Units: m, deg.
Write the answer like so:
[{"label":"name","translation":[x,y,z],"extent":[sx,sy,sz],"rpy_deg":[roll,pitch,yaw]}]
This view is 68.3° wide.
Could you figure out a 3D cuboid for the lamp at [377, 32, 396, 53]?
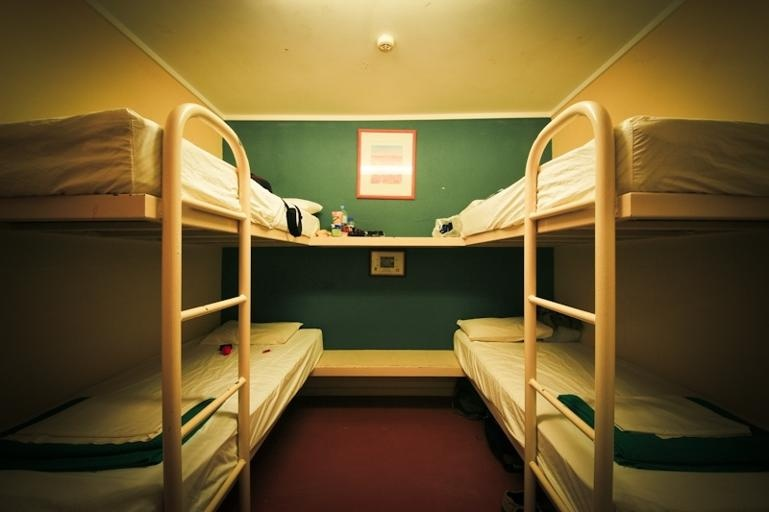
[{"label":"lamp","translation":[0.007,-1.560,4.143],"extent":[0.100,0.099,0.036],"rpy_deg":[-4,-84,-39]}]
